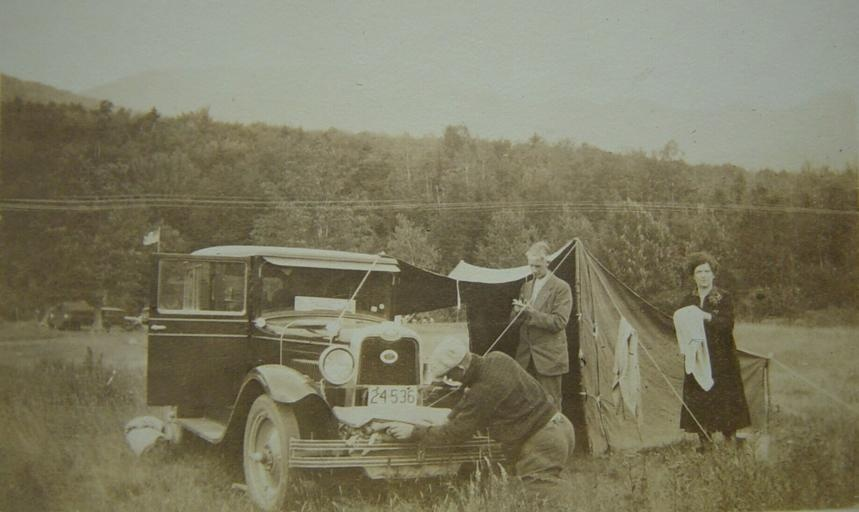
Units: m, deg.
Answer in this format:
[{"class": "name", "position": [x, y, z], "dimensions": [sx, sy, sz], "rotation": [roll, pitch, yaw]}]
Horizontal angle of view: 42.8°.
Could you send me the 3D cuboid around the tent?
[{"class": "tent", "position": [2.512, 1.355, 15.596], "dimensions": [3.226, 1.570, 3.121], "rotation": [0, 4, -20]}]
